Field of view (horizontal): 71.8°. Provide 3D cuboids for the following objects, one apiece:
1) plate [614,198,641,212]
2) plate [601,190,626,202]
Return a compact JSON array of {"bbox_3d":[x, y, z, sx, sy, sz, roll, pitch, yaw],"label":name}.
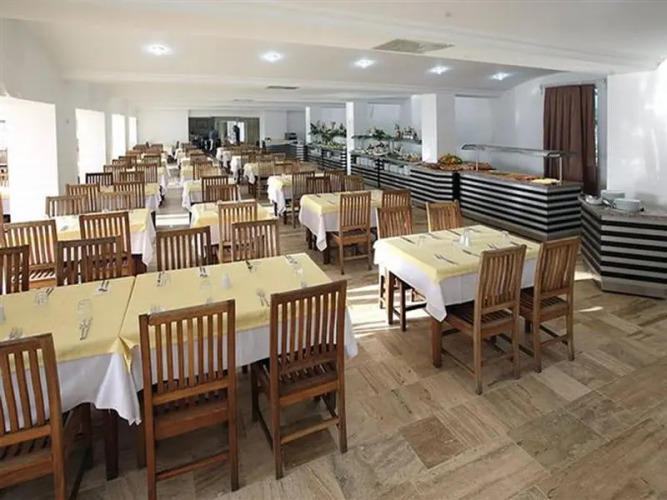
[{"bbox_3d":[3.206,-0.505,5.015,0.210,0.129,0.269,2,15,23],"label":"plate"},{"bbox_3d":[3.266,-0.646,5.381,0.173,0.079,0.180,-3,10,-9],"label":"plate"}]
